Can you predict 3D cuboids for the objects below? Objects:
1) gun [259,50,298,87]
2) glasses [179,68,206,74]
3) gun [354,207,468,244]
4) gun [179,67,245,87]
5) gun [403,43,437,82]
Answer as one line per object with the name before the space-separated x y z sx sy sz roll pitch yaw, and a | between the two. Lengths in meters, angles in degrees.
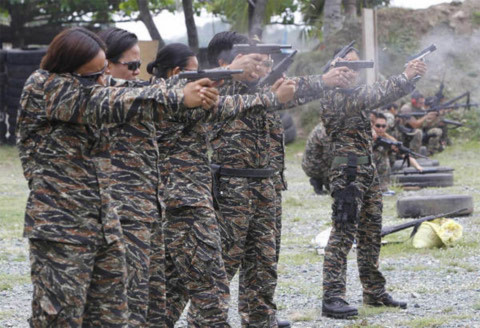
gun | 0.539 -1.332 13.373 0.672 0.550 0.387 9 24 20
glasses | -0.633 -1.235 12.756 0.185 0.050 0.188 0 6 31
gun | 2.814 1.018 15.678 1.618 0.114 0.443 -12 20 10
gun | -0.379 -1.139 12.318 0.837 0.299 0.371 2 16 5
gun | 2.655 -1.435 14.234 0.439 0.599 0.635 10 25 35
